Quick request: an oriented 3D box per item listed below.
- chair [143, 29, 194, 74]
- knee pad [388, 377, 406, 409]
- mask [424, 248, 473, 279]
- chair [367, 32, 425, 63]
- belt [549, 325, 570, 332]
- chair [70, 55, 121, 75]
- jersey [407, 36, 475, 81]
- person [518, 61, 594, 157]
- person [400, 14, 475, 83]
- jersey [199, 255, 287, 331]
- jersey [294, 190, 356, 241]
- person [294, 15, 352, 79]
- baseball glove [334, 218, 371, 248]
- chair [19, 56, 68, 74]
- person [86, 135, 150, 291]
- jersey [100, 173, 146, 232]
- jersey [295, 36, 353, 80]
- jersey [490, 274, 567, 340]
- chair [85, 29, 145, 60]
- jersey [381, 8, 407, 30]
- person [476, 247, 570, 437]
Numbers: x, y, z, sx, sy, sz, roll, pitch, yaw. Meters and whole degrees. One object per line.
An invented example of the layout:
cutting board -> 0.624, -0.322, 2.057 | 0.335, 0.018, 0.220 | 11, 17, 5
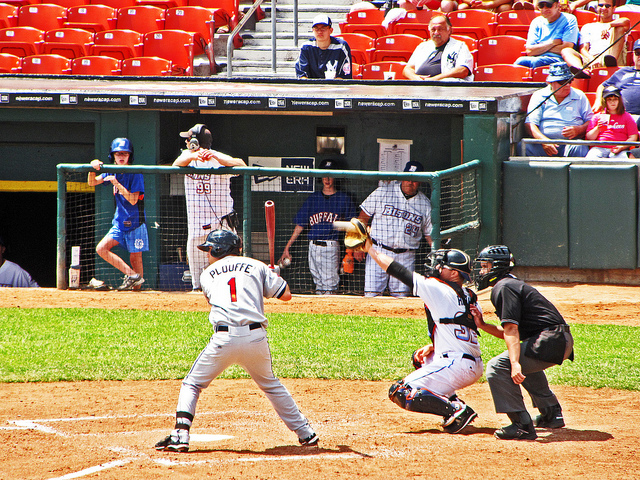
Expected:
chair -> -2.543, -3.057, 20.995 | 0.937, 0.776, 0.724 | -6, 32, -17
knee pad -> 0.800, 1.624, 13.099 | 0.160, 0.319, 0.308 | 0, 0, 0
mask -> 1.373, 0.232, 13.135 | 0.532, 0.278, 0.350 | 14, 26, 27
chair -> 1.236, -3.112, 20.490 | 0.949, 0.633, 0.479 | 2, 7, 9
belt -> 2.444, 0.918, 12.873 | 0.131, 0.043, 0.092 | 0, 1, -3
chair -> -3.742, -2.884, 20.806 | 0.529, 0.447, 0.404 | 0, 0, 0
jersey -> 1.881, -2.678, 19.152 | 1.031, 0.766, 0.598 | 1, 3, 41
person -> 3.397, -1.819, 18.045 | 1.372, 1.677, 1.042 | 3, 16, 16
person -> 1.821, -2.834, 19.218 | 1.145, 1.044, 0.688 | 5, 5, 30
jersey -> -0.777, 0.528, 12.691 | 0.850, 0.752, 0.387 | 0, 0, -5
jersey -> 0.071, -0.331, 18.156 | 0.817, 0.727, 0.229 | 0, 0, 24
person -> 0.008, -2.774, 19.301 | 0.968, 1.253, 0.693 | 2, 6, 13
baseball glove -> 0.364, -0.075, 12.832 | 0.360, 0.255, 0.163 | 31, 21, 8
chair -> -4.586, -2.914, 20.917 | 0.668, 0.406, 0.332 | 3, 13, 2
person -> -2.764, -0.358, 17.413 | 0.777, 2.144, 1.122 | 0, 0, -8
jersey -> -2.694, -0.500, 17.235 | 0.599, 0.807, 0.432 | 0, 0, -12
jersey -> 0.054, -2.789, 19.356 | 0.844, 0.651, 0.331 | 0, 0, 1
jersey -> 2.171, 0.724, 13.060 | 0.502, 0.713, 0.759 | -21, -25, 27
chair -> -3.430, -3.337, 21.376 | 0.894, 0.599, 0.643 | 2, 6, 13
jersey -> 1.260, -3.778, 21.490 | 0.439, 0.394, 0.611 | 0, 0, 2
person -> 2.125, 1.062, 13.138 | 0.930, 1.938, 1.116 | 0, 0, 10
